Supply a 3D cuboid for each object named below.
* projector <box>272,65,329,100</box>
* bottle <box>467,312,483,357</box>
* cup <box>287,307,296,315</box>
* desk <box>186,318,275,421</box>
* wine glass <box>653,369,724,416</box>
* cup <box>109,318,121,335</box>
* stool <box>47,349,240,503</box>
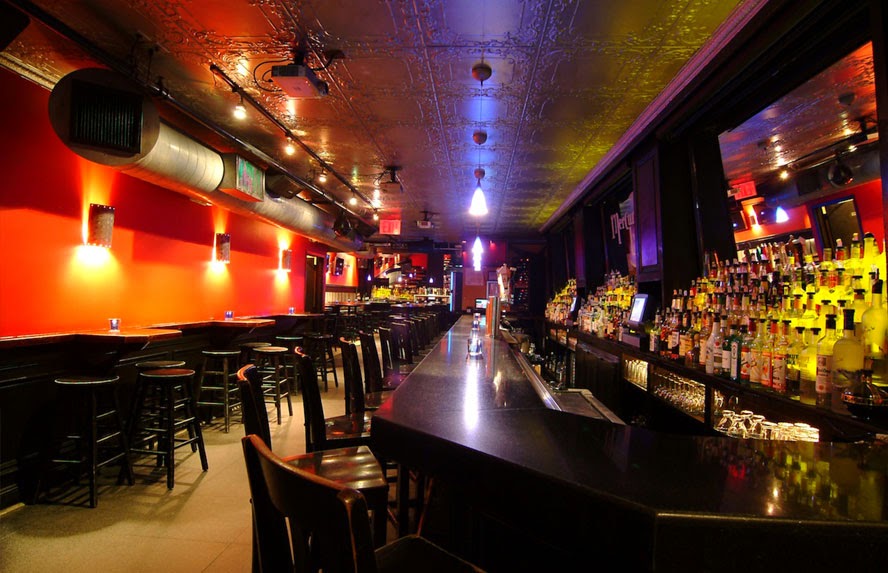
[{"bbox_3d":[-1.360,-1.884,5.336,0.310,0.081,0.332,2,-7,6],"label":"projector"},{"bbox_3d":[0.307,0.506,5.718,0.188,0.435,0.194,2,-11,0],"label":"bottle"},{"bbox_3d":[-2.510,0.401,9.544,0.072,0.097,0.071,3,8,0],"label":"cup"},{"bbox_3d":[-2.657,1.101,7.083,1.110,1.209,1.091,-9,-4,-6],"label":"desk"},{"bbox_3d":[2.204,0.946,5.263,0.276,0.281,0.550,3,5,-24],"label":"wine glass"},{"bbox_3d":[-3.250,0.389,5.727,0.102,0.133,0.108,1,-5,0],"label":"cup"},{"bbox_3d":[-2.922,1.346,5.531,0.411,0.886,1.274,0,-6,43],"label":"stool"}]
